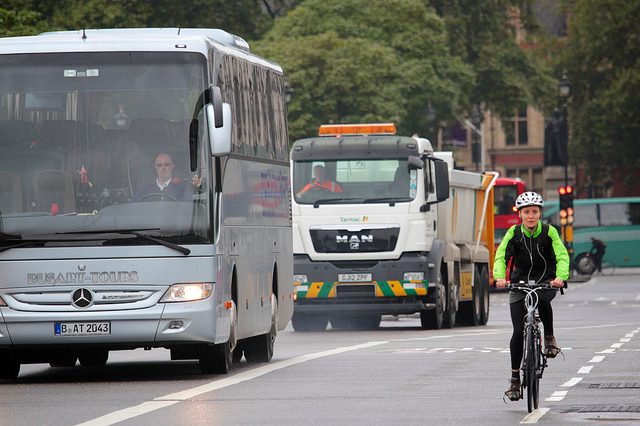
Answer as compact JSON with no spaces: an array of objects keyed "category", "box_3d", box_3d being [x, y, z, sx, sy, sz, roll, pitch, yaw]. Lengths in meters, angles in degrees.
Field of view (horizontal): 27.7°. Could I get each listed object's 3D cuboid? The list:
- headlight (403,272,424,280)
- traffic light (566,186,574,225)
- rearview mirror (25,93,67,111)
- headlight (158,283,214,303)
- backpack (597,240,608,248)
[{"category":"headlight","box_3d":[1.919,1.289,26.657,0.427,0.155,0.050,-1,0,0]},{"category":"traffic light","box_3d":[9.812,-0.287,50.913,0.198,1.029,0.754,-1,-1,15]},{"category":"rearview mirror","box_3d":[-3.748,-1.467,17.674,0.341,0.150,0.336,1,-5,-8]},{"category":"headlight","box_3d":[-1.813,1.072,17.459,0.723,0.254,0.080,-1,0,-10]},{"category":"backpack","box_3d":[13.650,1.498,62.742,0.948,0.277,0.208,19,-7,-41]}]
